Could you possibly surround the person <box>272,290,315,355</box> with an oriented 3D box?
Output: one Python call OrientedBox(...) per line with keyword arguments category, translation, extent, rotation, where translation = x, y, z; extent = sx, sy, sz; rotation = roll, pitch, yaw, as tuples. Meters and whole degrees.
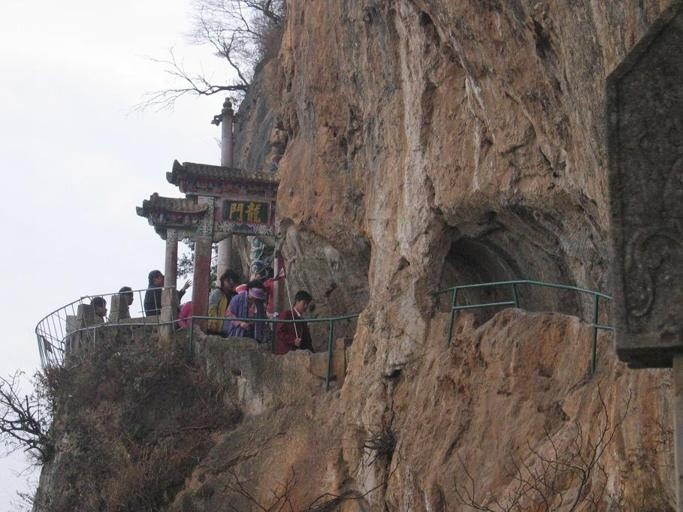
OrientedBox(category="person", translation=(-0.709, 1.002, 23.589), extent=(0.486, 1.622, 0.587), rotation=(4, 12, 19))
